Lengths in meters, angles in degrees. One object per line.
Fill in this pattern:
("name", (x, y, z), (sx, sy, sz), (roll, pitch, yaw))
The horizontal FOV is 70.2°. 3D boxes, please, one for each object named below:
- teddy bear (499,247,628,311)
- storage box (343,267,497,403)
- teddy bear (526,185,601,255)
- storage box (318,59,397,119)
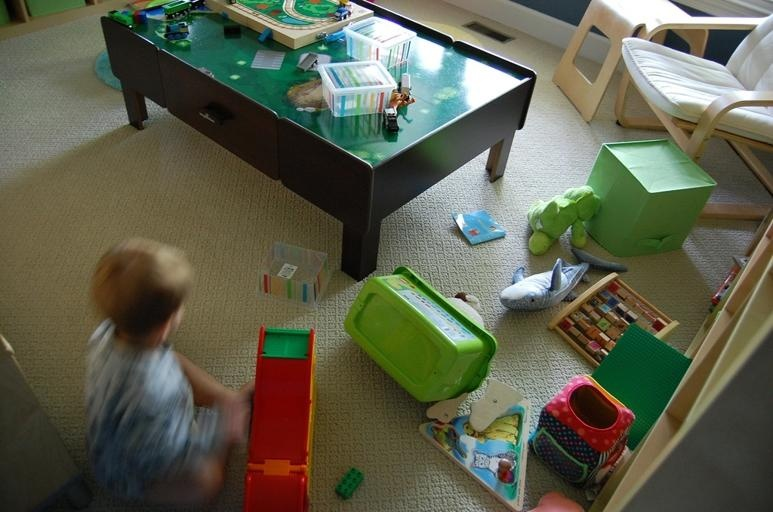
("teddy bear", (0.708, 0.102, 2.328), (0.420, 0.156, 0.263), (-40, 42, -14))
("storage box", (0.109, 0.304, 1.989), (0.399, 0.235, 0.215), (41, 35, 25))
("teddy bear", (0.847, -0.160, 2.517), (0.135, 0.343, 0.328), (45, 23, -1))
("storage box", (-0.124, -0.706, 2.278), (0.288, 0.112, 0.290), (-8, 47, -11))
